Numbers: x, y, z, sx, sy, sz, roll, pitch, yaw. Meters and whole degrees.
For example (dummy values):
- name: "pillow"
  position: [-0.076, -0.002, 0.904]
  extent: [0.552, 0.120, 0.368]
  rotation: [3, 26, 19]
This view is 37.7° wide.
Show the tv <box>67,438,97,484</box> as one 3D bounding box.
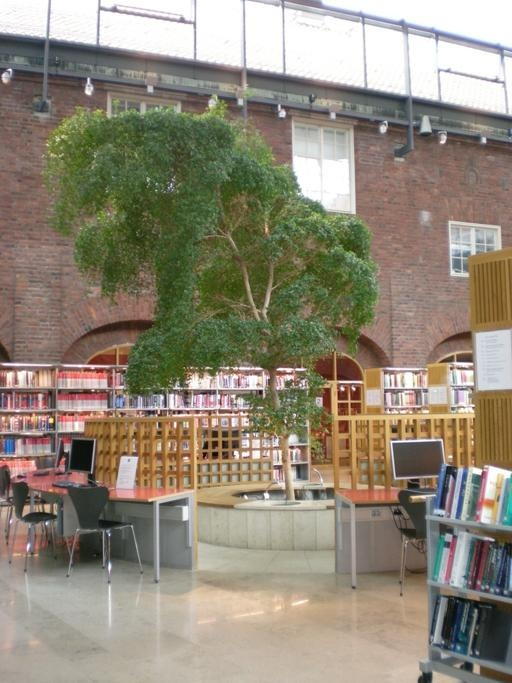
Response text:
- name: "tv"
  position: [-1.666, 1.147, 7.209]
  extent: [0.181, 0.483, 0.413]
  rotation: [9, -13, -40]

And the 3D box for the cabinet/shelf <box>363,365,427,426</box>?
- name: "cabinet/shelf"
  position: [2.721, 0.953, 13.648]
  extent: [1.380, 1.295, 0.478]
  rotation: [-3, 3, -28]

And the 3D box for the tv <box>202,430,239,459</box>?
- name: "tv"
  position: [-0.510, 1.446, 10.693]
  extent: [0.410, 0.317, 0.022]
  rotation: [3, -8, -37]
